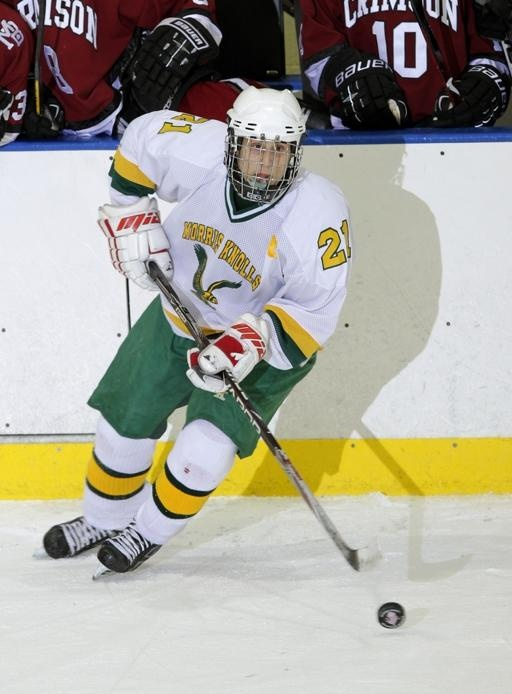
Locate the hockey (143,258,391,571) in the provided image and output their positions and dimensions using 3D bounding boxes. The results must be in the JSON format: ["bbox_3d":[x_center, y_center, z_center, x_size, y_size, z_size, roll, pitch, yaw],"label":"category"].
[{"bbox_3d":[0.028,0.171,1.996,0.177,0.096,1.149,27,23,-47],"label":"hockey"}]

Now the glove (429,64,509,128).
[{"bbox_3d":[0.731,-0.866,2.551,0.170,0.236,0.336,7,12,36],"label":"glove"}]

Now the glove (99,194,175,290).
[{"bbox_3d":[-0.288,-0.269,1.971,0.180,0.241,0.108,-19,-7,22],"label":"glove"}]

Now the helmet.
[{"bbox_3d":[0.016,-0.501,1.679,0.152,0.129,0.164,6,7,-8],"label":"helmet"}]
